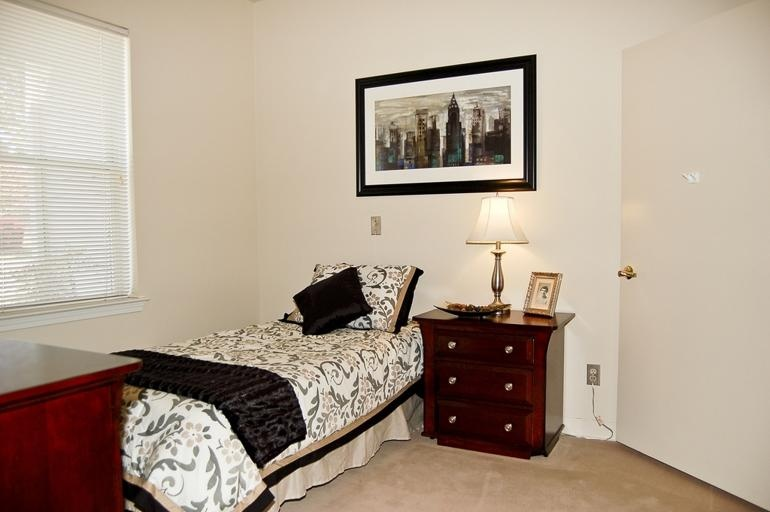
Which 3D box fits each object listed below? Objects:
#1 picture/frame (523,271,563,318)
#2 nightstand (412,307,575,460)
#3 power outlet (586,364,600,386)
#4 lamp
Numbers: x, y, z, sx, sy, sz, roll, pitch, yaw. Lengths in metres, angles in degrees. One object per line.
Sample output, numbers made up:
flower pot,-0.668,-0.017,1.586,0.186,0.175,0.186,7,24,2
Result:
picture/frame,1.156,0.280,3.746,0.269,0.371,0.051,8,-14,42
nightstand,0.777,0.909,3.845,0.910,0.926,0.720,1,3,25
power outlet,1.525,0.866,3.796,0.088,0.156,0.035,1,11,11
lamp,0.851,-0.046,3.878,0.422,0.831,0.438,3,11,18
